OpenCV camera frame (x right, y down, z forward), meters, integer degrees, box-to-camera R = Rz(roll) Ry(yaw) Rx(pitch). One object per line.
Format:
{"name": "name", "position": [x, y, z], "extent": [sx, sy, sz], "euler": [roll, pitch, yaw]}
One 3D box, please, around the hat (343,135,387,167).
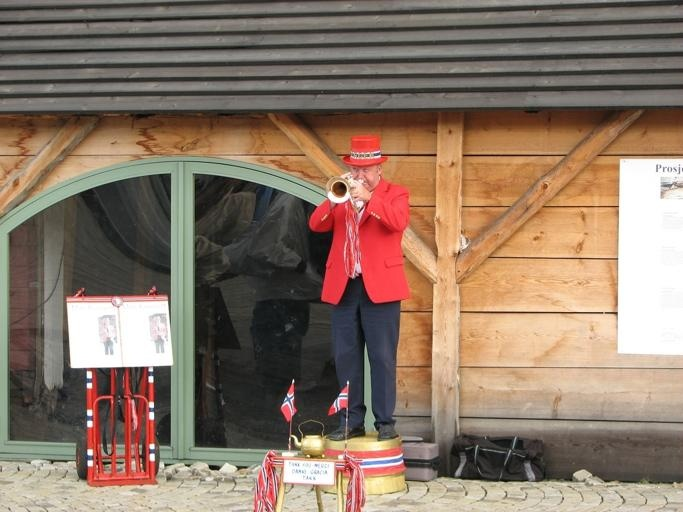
{"name": "hat", "position": [0.179, -0.788, 10.910], "extent": [0.310, 0.129, 0.293], "euler": [-6, 9, -33]}

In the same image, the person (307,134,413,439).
{"name": "person", "position": [0.177, 0.211, 10.944], "extent": [0.723, 2.285, 0.807], "euler": [2, -8, -21]}

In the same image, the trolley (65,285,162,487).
{"name": "trolley", "position": [-1.703, 0.978, 11.305], "extent": [0.784, 1.520, 0.766], "euler": [0, -7, -5]}

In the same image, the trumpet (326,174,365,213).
{"name": "trumpet", "position": [0.041, -0.459, 10.647], "extent": [0.229, 0.181, 0.390], "euler": [14, -13, 15]}

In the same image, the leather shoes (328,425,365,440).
{"name": "leather shoes", "position": [0.063, 1.314, 10.945], "extent": [0.335, 0.093, 0.149], "euler": [2, -7, -26]}

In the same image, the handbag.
{"name": "handbag", "position": [1.206, 1.543, 11.237], "extent": [0.708, 0.345, 0.115], "euler": [-1, -7, 4]}

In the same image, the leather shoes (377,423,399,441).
{"name": "leather shoes", "position": [0.342, 1.302, 10.930], "extent": [0.123, 0.075, 0.222], "euler": [-1, -9, 3]}
